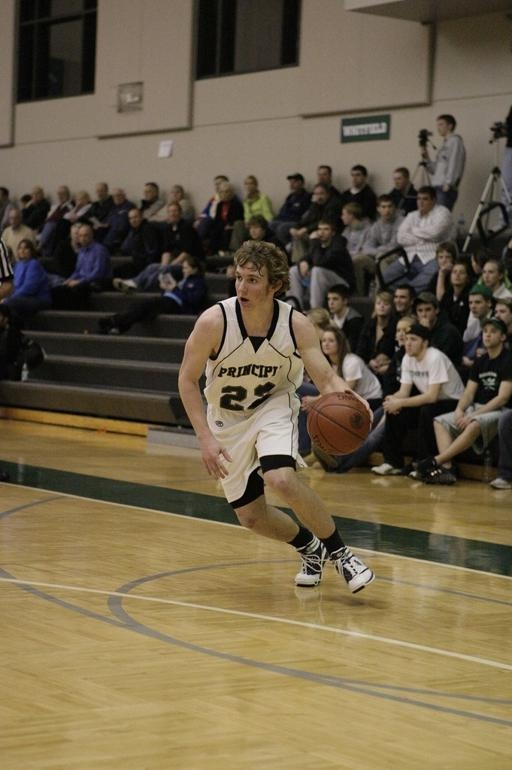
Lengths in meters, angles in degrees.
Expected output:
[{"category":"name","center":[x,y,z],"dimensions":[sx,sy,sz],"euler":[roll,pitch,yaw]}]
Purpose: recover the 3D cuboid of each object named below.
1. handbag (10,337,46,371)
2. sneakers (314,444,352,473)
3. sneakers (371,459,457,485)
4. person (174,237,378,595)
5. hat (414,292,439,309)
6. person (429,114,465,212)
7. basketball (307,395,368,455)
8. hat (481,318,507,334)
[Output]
[{"category":"handbag","center":[-2.553,-0.366,7.843],"dimensions":[0.317,0.357,0.262],"euler":[3,-1,-6]},{"category":"sneakers","center":[0.669,0.678,6.189],"dimensions":[0.396,0.216,0.283],"euler":[5,2,-10]},{"category":"sneakers","center":[1.318,0.729,5.801],"dimensions":[0.698,0.246,0.203],"euler":[7,-2,3]},{"category":"person","center":[0.073,0.141,2.652],"dimensions":[0.734,1.069,0.485],"euler":[3,-1,-10]},{"category":"hat","center":[1.594,-0.792,6.479],"dimensions":[0.203,0.105,0.155],"euler":[2,-2,11]},{"category":"person","center":[2.381,-2.778,8.636],"dimensions":[0.368,1.395,0.728],"euler":[3,-1,10]},{"category":"basketball","center":[0.312,0.146,2.611],"dimensions":[0.231,0.177,0.166],"euler":[2,-1,6]},{"category":"hat","center":[1.971,-0.480,5.699],"dimensions":[0.205,0.136,0.173],"euler":[2,-2,4]}]
